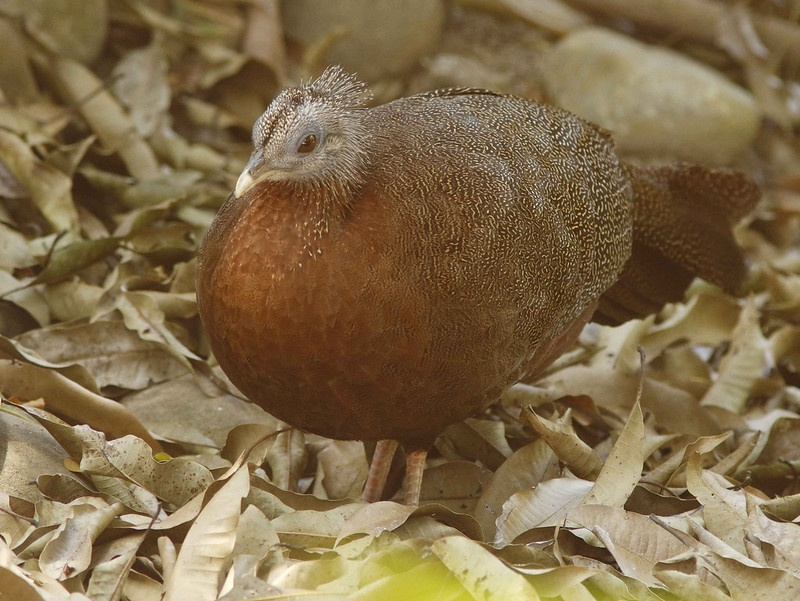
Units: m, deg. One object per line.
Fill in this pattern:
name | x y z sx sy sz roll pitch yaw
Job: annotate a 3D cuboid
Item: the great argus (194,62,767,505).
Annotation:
great argus | 0.050 -0.150 3.101 1.096 0.558 1.272 43 81 10
